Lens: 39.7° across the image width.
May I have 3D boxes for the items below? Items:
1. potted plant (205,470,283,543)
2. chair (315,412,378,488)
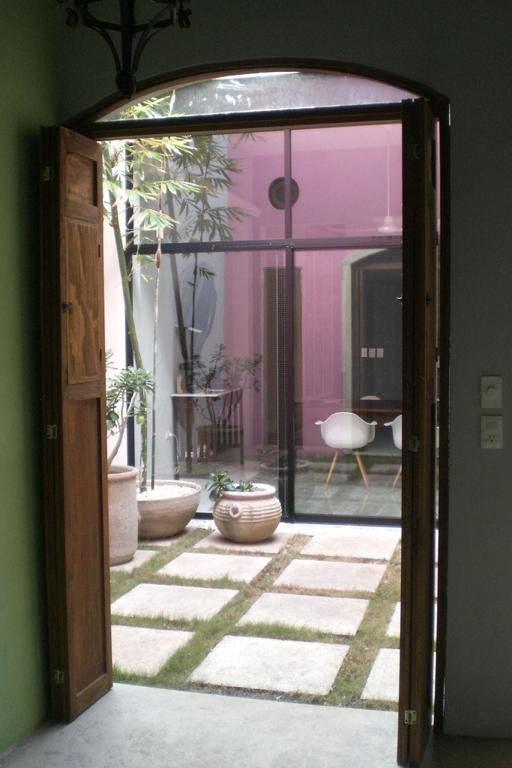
[{"bbox_3d":[-0.086,0.817,4.836,0.353,0.358,0.463,1,-2,38],"label":"potted plant"},{"bbox_3d":[0.659,0.446,5.275,0.425,0.591,0.412,0,9,5],"label":"chair"}]
